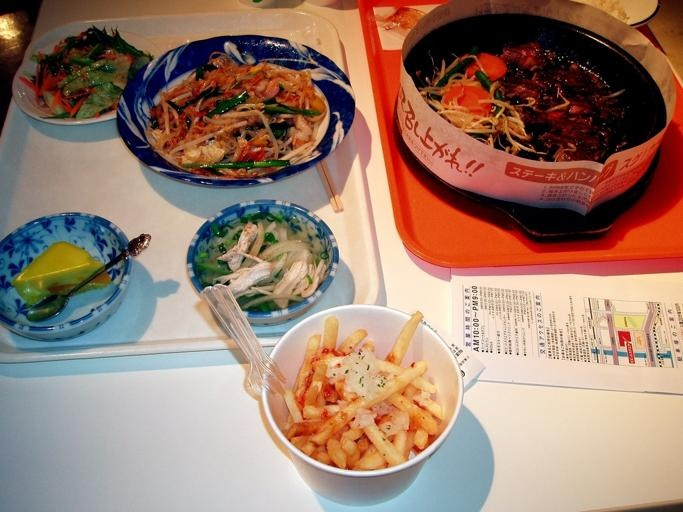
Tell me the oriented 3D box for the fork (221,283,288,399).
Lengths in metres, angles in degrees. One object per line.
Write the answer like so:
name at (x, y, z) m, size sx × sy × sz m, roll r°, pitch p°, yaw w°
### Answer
fork at (-0.265, 0.263, 1.533) m, size 0.067 × 0.055 × 0.392 m, roll -25°, pitch 61°, yaw -10°

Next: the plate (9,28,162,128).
plate at (-1.101, -0.720, 2.284) m, size 0.477 × 0.121 × 0.515 m, roll -15°, pitch 76°, yaw -10°

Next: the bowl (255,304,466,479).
bowl at (0.054, 0.347, 1.467) m, size 0.454 × 0.177 × 0.493 m, roll 1°, pitch 57°, yaw -2°

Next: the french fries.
french fries at (0.065, 0.372, 1.413) m, size 0.426 × 0.157 × 0.401 m, roll -1°, pitch 67°, yaw 2°

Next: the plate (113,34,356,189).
plate at (-0.437, -0.552, 2.060) m, size 0.635 × 0.319 × 0.581 m, roll 0°, pitch 45°, yaw -5°
